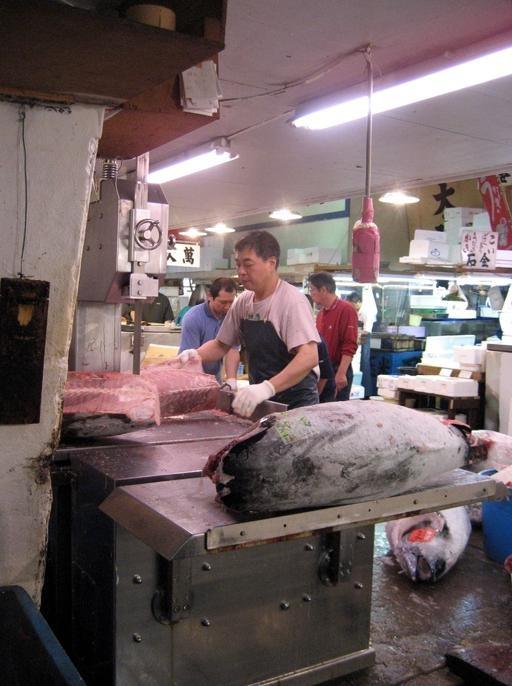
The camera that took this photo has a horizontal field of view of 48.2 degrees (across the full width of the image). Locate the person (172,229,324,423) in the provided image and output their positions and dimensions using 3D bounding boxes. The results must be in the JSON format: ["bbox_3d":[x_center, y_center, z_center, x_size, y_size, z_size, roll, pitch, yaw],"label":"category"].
[{"bbox_3d":[0.014,-0.112,2.683,0.619,0.861,1.115,0,3,-2],"label":"person"}]

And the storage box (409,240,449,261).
[{"bbox_3d":[1.917,-1.023,6.360,0.305,0.170,0.300,-4,10,-42],"label":"storage box"}]

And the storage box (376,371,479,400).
[{"bbox_3d":[1.655,0.404,5.460,0.339,0.217,0.484,-5,10,-29],"label":"storage box"}]

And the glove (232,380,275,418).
[{"bbox_3d":[-0.009,0.215,2.218,0.149,0.125,0.208,1,3,3],"label":"glove"}]

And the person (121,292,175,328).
[{"bbox_3d":[-1.587,-0.521,8.458,0.696,0.464,1.497,0,3,-9],"label":"person"}]
